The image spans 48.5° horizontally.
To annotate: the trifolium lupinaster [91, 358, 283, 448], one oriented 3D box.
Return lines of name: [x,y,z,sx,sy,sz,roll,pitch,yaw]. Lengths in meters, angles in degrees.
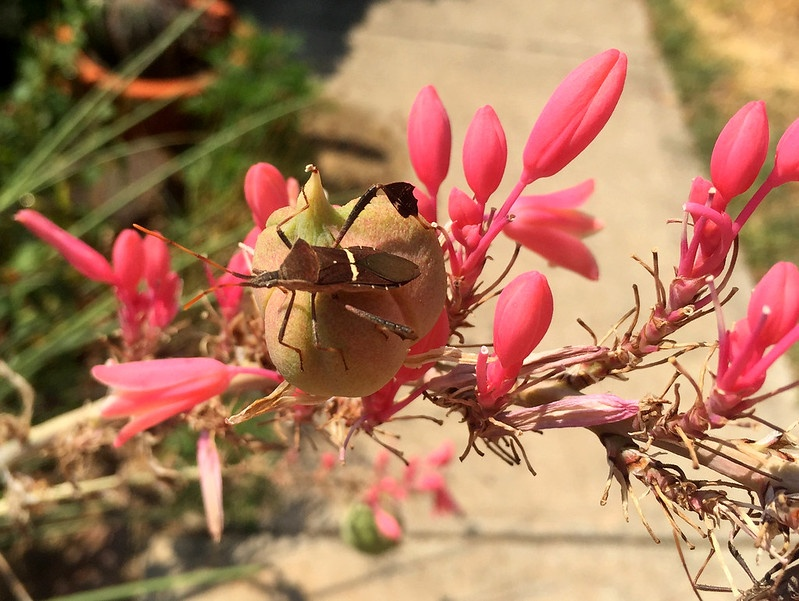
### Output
trifolium lupinaster: [-0.661,0.225,2.680,0.648,0.287,0.163,-10,30,-32]

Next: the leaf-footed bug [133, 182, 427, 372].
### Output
leaf-footed bug: [-0.287,-0.105,2.370,0.671,0.173,0.446,0,76,7]

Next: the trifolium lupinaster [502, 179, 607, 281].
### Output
trifolium lupinaster: [0.510,-0.238,2.949,0.378,0.310,0.246,7,34,-16]
